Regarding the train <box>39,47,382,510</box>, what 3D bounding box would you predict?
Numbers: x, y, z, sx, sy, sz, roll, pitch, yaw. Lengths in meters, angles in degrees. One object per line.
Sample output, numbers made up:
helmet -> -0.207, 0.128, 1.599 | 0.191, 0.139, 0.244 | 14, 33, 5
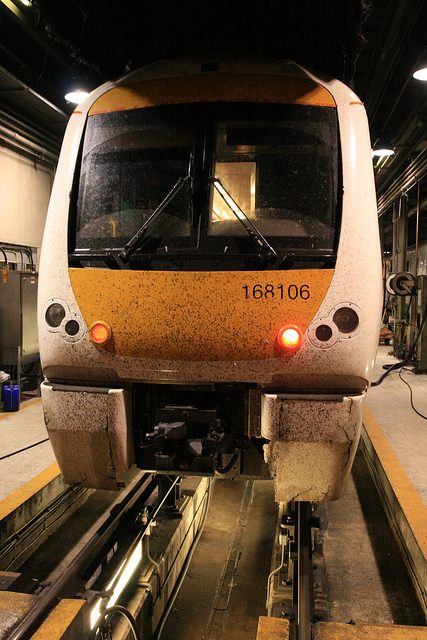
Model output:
train -> 0.077, -0.395, 3.527 | 1.120, 2.347, 2.606 | 0, 2, 7
